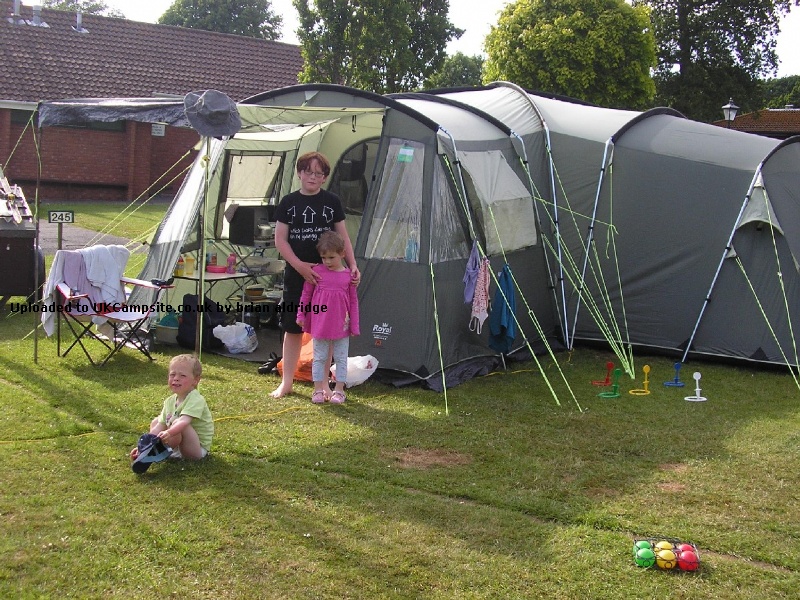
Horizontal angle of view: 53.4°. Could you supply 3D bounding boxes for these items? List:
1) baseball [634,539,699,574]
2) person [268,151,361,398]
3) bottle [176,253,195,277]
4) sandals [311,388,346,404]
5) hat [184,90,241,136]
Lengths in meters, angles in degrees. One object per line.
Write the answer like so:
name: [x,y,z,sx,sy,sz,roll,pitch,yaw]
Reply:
baseball: [1.598,1.543,4.732,0.251,0.081,0.201,0,8,5]
person: [-0.783,-0.172,6.873,0.748,2.133,0.533,4,2,18]
bottle: [-2.261,-0.358,8.373,0.193,0.196,0.197,3,8,10]
sandals: [-0.633,0.851,6.916,0.125,0.079,0.230,-4,-12,28]
hat: [-1.557,-1.495,6.378,0.500,0.391,0.319,5,2,34]
